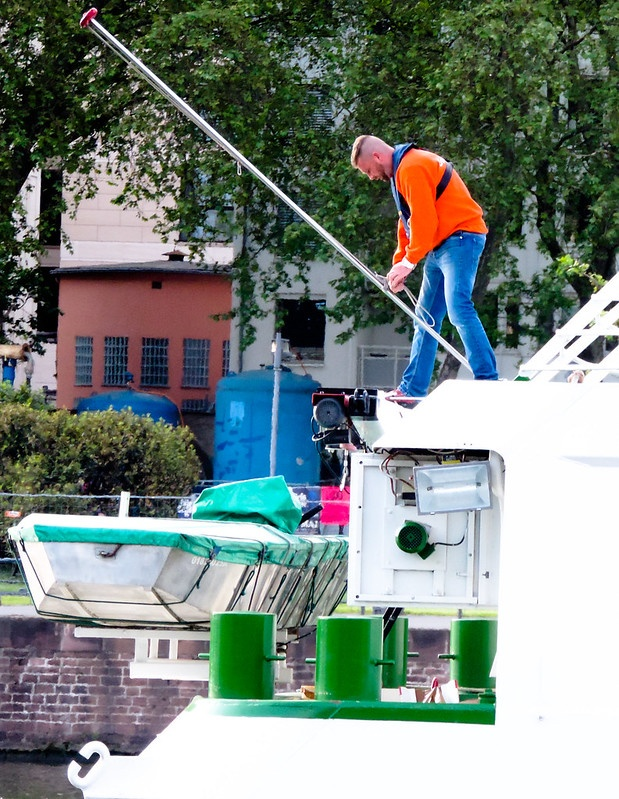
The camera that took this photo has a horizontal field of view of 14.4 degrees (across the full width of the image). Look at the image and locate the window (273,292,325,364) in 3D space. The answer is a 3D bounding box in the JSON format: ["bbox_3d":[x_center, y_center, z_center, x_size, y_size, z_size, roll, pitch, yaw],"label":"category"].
[{"bbox_3d":[-0.195,-1.192,44.241,1.044,1.517,0.125,5,-19,-13],"label":"window"}]

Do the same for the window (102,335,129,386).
[{"bbox_3d":[-3.860,-0.789,48.376,0.442,1.005,0.125,0,-12,-3],"label":"window"}]

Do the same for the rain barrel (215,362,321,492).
[{"bbox_3d":[-0.655,0.452,40.546,1.827,2.198,1.893,-1,-3,25],"label":"rain barrel"}]

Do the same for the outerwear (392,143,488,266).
[{"bbox_3d":[1.112,-1.855,21.949,0.842,1.142,0.861,-17,11,1],"label":"outerwear"}]

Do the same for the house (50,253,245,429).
[{"bbox_3d":[-3.359,-1.541,50.424,4.874,3.404,4.945,1,1,-27],"label":"house"}]

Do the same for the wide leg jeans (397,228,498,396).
[{"bbox_3d":[1.437,-0.941,24.880,0.799,2.174,1.073,31,-52,-16],"label":"wide leg jeans"}]

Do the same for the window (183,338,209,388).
[{"bbox_3d":[-2.257,-0.732,48.324,0.567,1.119,0.095,2,-29,-2],"label":"window"}]
